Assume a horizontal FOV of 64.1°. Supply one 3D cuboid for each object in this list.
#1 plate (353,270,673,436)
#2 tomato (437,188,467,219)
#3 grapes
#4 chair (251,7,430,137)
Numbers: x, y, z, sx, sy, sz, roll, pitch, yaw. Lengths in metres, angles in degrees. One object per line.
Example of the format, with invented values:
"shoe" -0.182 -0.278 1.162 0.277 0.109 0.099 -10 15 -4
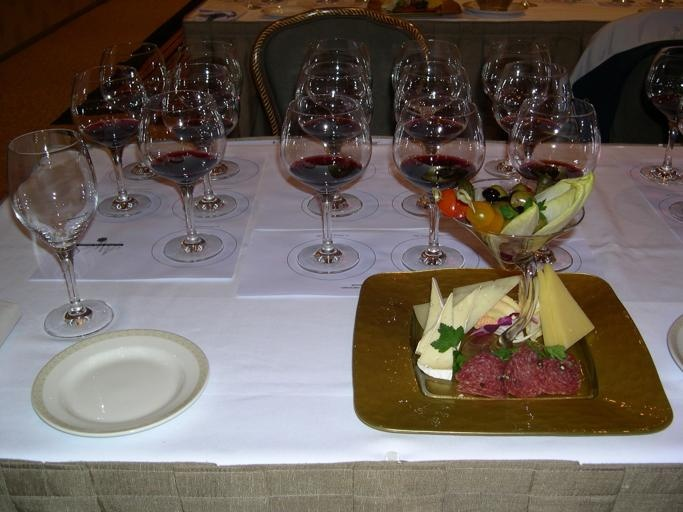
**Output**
"plate" 0.246 0.152 0.761 0.303 0.042 0.267 -3 35 -5
"tomato" 0.164 -0.076 0.820 0.036 0.046 0.026 -33 -14 1
"grapes" 0.249 -0.078 0.830 0.083 0.053 0.086 11 47 11
"chair" 0.052 -0.653 2.212 0.596 0.737 0.530 0 20 -1
